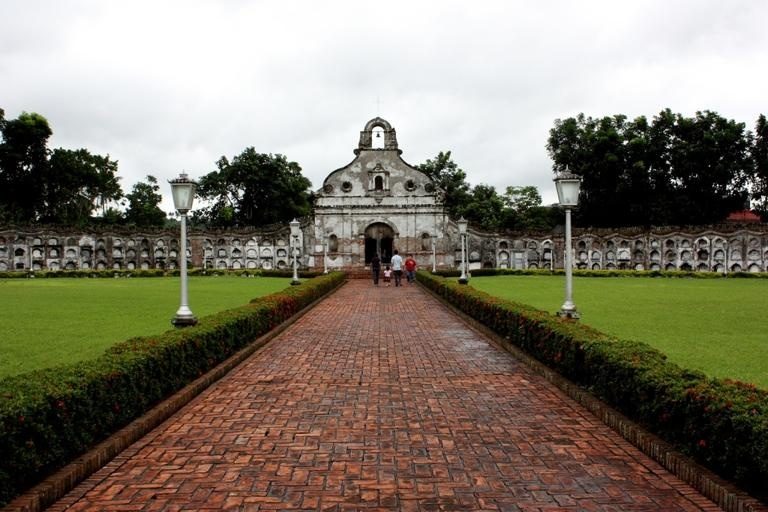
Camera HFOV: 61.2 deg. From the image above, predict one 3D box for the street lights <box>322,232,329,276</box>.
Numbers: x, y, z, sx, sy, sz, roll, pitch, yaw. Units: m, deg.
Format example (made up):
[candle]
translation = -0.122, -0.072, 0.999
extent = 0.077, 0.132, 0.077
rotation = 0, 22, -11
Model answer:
[street lights]
translation = -3.672, -0.389, 40.367
extent = 0.349, 2.356, 0.774
rotation = -1, 10, -5
